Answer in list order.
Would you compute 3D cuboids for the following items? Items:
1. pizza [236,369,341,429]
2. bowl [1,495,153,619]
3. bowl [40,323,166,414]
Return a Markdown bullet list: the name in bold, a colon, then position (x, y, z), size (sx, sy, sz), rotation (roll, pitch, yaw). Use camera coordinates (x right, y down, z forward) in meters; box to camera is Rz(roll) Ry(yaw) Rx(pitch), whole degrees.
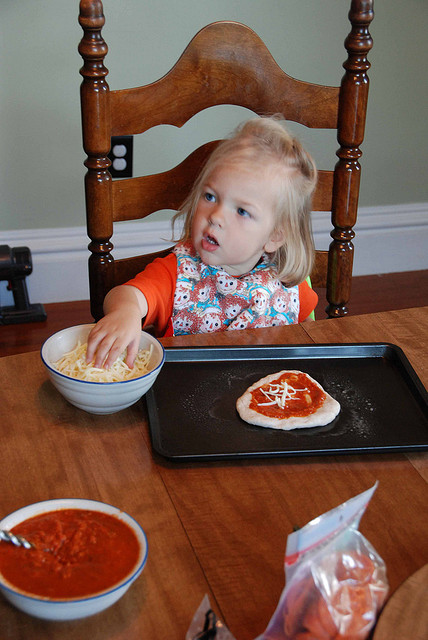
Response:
- **pizza**: position (0.098, 0.108, 0.743), size (0.132, 0.020, 0.141), rotation (-10, 26, -8)
- **bowl**: position (-0.110, 0.176, 0.416), size (0.109, 0.032, 0.122), rotation (-10, 27, -28)
- **bowl**: position (-0.138, 0.068, 0.680), size (0.135, 0.059, 0.131), rotation (2, 36, -2)
